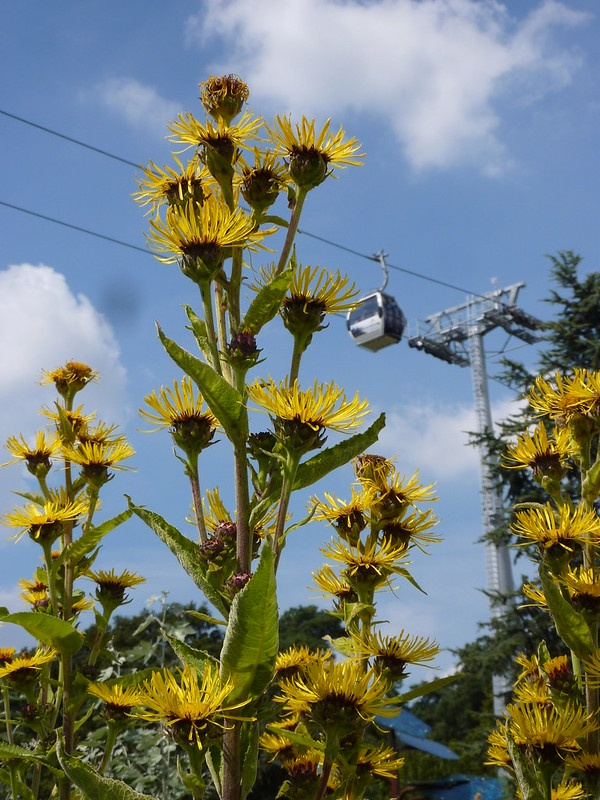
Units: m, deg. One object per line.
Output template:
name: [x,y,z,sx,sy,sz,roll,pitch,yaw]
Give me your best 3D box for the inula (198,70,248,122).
inula: [-0.330,-1.280,7.745,0.216,0.233,0.211,-4,-5,-1]
